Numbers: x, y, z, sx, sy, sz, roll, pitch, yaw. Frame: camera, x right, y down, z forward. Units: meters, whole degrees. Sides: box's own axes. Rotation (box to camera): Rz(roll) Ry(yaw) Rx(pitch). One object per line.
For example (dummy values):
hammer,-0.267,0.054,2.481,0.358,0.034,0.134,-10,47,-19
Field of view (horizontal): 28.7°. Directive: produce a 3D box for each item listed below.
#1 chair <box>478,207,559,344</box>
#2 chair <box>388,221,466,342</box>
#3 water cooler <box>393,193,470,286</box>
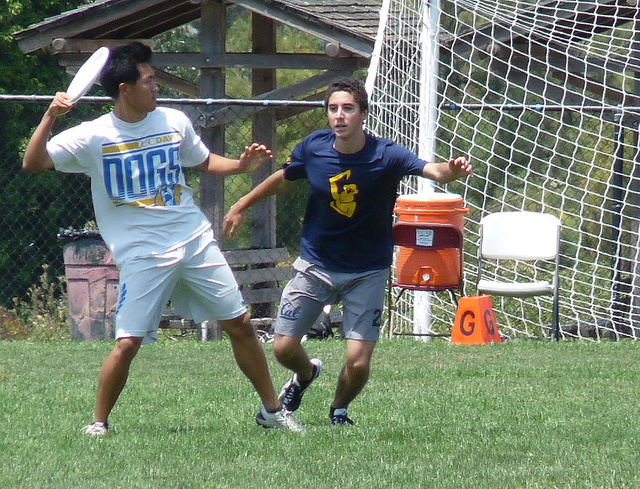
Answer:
chair,2.193,0.460,13.877,0.900,1.664,1.185,0,2,13
chair,1.151,0.401,13.685,1.080,1.895,1.249,1,9,8
water cooler,1.208,-0.048,13.722,1.139,0.926,1.175,2,8,7
